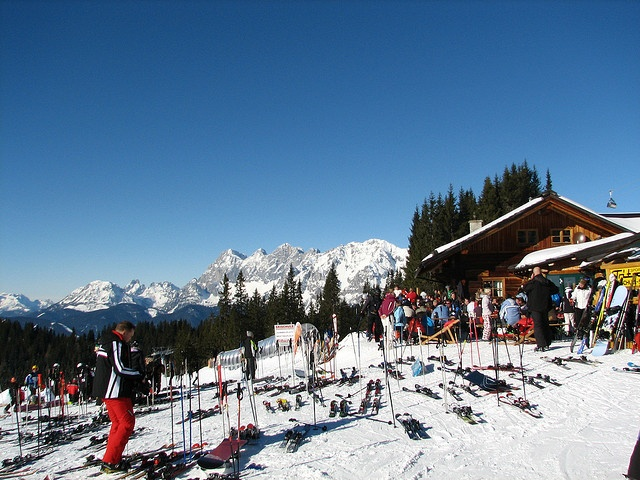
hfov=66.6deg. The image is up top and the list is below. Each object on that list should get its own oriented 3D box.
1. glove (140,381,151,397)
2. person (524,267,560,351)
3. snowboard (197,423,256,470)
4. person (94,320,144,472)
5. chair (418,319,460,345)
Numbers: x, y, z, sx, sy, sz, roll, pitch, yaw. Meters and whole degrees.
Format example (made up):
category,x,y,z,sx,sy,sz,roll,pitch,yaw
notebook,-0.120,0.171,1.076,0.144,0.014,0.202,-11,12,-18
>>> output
category,x,y,z,sx,sy,sz,roll,pitch,yaw
glove,-5.098,4.237,14.055,0.245,0.481,0.134,5,3,-21
person,9.421,2.830,20.655,1.208,3.459,1.027,0,-1,-10
snowboard,-2.713,6.093,14.416,0.588,0.350,1.809,0,-1,10
person,-5.686,4.384,13.707,1.283,4.108,0.902,-8,-11,25
chair,6.363,4.979,25.191,2.462,1.531,1.515,-3,-7,4
